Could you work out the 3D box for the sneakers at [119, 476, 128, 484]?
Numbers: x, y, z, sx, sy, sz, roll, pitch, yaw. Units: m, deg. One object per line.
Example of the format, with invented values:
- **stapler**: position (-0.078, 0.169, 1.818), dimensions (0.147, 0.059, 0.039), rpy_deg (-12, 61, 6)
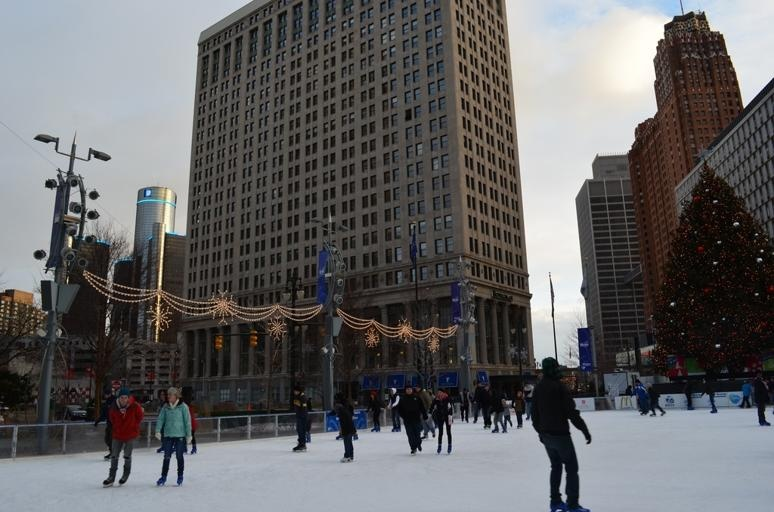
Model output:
- **sneakers**: position (-10.530, 8.895, 27.020), dimensions (0.257, 0.289, 0.380), rpy_deg (3, -18, -22)
